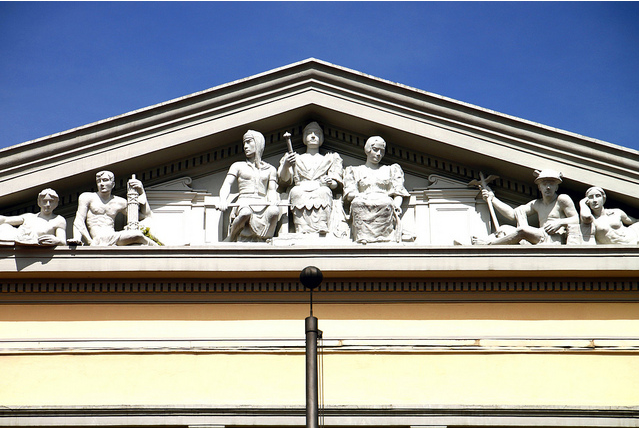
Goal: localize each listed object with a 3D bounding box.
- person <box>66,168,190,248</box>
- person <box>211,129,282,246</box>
[{"bbox_3d":[-3.940,-0.013,30.487,1.668,1.664,0.967,10,-49,-7],"label":"person"},{"bbox_3d":[-1.327,-0.555,30.755,1.218,2.098,1.317,0,-49,2],"label":"person"}]
